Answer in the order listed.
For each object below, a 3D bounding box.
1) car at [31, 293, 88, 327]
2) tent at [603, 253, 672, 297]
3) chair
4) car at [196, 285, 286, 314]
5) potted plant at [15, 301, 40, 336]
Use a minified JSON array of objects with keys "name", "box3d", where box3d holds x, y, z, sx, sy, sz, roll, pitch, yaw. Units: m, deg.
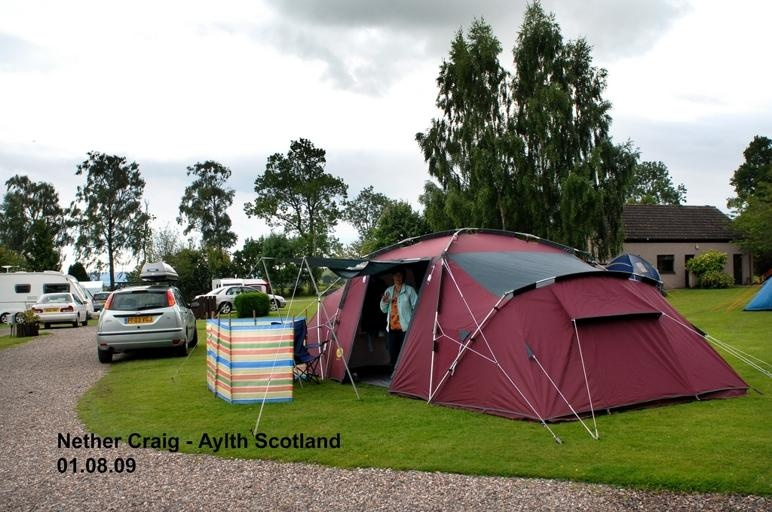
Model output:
[{"name":"car","box3d":[-13.875,2.348,28.191,1.171,0.910,2.694,0,-7,-9]},{"name":"tent","box3d":[8.318,0.544,21.802,2.007,0.991,2.102,4,0,16]},{"name":"chair","box3d":[-1.696,2.183,13.943,0.727,0.882,0.723,26,6,33]},{"name":"car","box3d":[-6.762,2.049,30.557,3.176,1.097,1.481,-3,0,-17]},{"name":"potted plant","box3d":[-13.055,2.410,24.005,0.637,1.027,0.708,13,-9,43]}]
